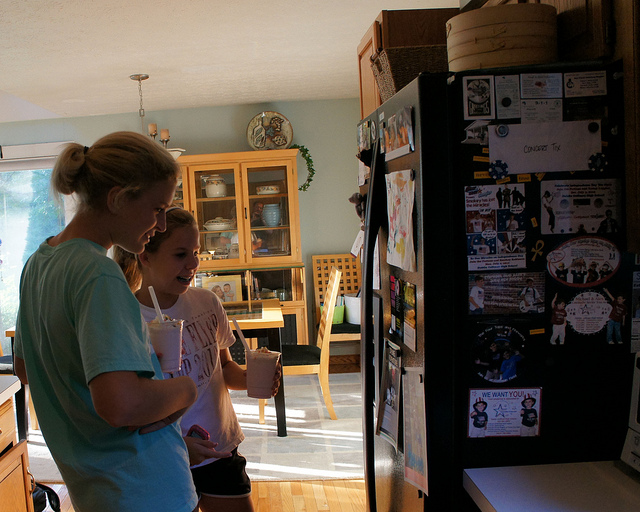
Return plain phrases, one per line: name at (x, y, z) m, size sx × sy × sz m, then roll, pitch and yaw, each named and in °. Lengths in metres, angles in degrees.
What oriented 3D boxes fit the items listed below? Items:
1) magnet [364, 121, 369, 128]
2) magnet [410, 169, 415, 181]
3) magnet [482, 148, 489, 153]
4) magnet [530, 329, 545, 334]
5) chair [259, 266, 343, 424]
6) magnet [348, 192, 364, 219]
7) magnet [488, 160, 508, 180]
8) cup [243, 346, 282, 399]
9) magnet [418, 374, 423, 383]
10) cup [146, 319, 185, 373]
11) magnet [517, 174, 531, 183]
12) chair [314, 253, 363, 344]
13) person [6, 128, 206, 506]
magnet at (0.152, -0.435, 1.887) m, size 0.010 × 0.027 × 0.031 m, roll -1°, pitch -2°, yaw -11°
magnet at (0.238, -0.211, 1.483) m, size 0.005 × 0.020 × 0.022 m, roll 1°, pitch 4°, yaw -9°
magnet at (0.418, -0.267, 1.445) m, size 0.012 × 0.011 × 0.003 m, roll 1°, pitch 3°, yaw 3°
magnet at (0.559, 0.195, 1.473) m, size 0.023 × 0.012 × 0.005 m, roll -4°, pitch -3°, yaw -2°
chair at (-0.066, 0.629, 4.281) m, size 0.446 × 1.099 × 0.513 m, roll -2°, pitch 6°, yaw -3°
magnet at (0.137, -0.184, 2.079) m, size 0.040 × 0.088 × 0.062 m, roll -4°, pitch 3°, yaw -13°
magnet at (0.451, -0.218, 1.448) m, size 0.046 × 0.048 × 0.011 m, roll 2°, pitch 1°, yaw 0°
cup at (-0.202, 0.416, 2.051) m, size 0.162 × 0.174 × 0.165 m, roll 3°, pitch -9°, yaw 0°
magnet at (0.260, 0.319, 1.485) m, size 0.004 × 0.016 × 0.018 m, roll 3°, pitch -12°, yaw -8°
cup at (-0.415, 0.256, 1.658) m, size 0.129 × 0.144 × 0.130 m, roll -10°, pitch -7°, yaw -1°
magnet at (0.518, -0.197, 1.454) m, size 0.036 × 0.019 × 0.008 m, roll 0°, pitch 4°, yaw -4°
chair at (0.207, 0.538, 5.419) m, size 0.512 × 0.971 × 0.555 m, roll -5°, pitch 30°, yaw 1°
person at (-0.564, 0.181, 1.398) m, size 0.471 × 0.957 × 0.294 m, roll -1°, pitch 6°, yaw 12°
